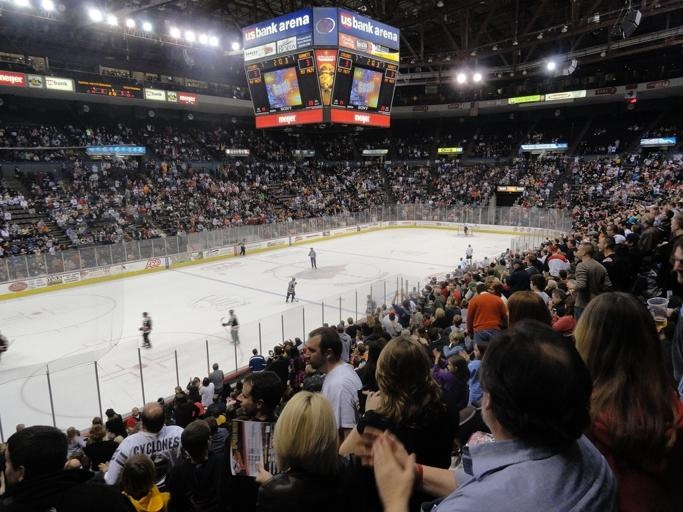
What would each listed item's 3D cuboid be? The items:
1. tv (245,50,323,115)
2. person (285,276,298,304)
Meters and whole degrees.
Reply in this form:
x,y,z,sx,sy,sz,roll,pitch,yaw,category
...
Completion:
x,y,z,sx,sy,sz,roll,pitch,yaw,category
-2.637,-7.717,23.433,4.011,2.455,0.174,3,19,35,tv
-2.157,1.323,22.048,0.455,1.106,1.824,-3,11,-6,person
